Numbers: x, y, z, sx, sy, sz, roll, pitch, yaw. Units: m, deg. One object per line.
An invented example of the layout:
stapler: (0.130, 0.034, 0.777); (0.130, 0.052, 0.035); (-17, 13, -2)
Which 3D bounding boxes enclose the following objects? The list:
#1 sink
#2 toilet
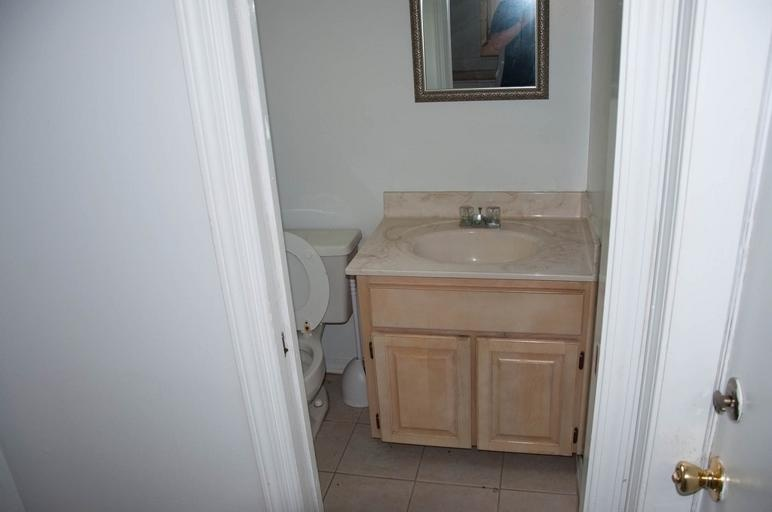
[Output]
sink: (0.402, -0.036, 2.411); (0.569, 0.152, 0.173); (2, 18, 9)
toilet: (-0.291, 0.351, 2.617); (0.338, 0.984, 0.636); (-1, 18, 2)
